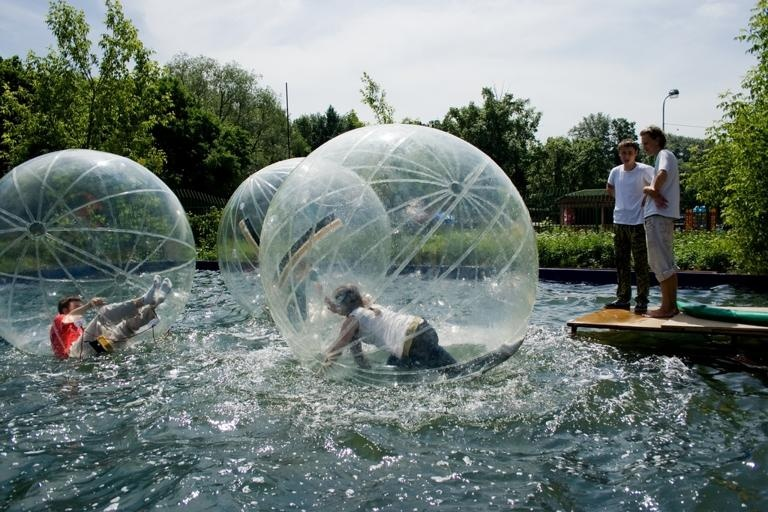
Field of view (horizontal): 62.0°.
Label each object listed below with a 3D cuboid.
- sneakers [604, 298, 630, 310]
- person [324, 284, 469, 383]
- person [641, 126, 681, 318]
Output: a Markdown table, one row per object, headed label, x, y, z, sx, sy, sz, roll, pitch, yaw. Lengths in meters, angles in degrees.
| label | x | y | z | sx | sy | sz | roll | pitch | yaw |
| --- | --- | --- | --- | --- | --- | --- | --- | --- | --- |
| sneakers | 3.038 | 0.631 | 8.397 | 0.343 | 0.159 | 0.140 | 3 | -2 | 22 |
| person | 0.111 | 0.752 | 6.165 | 1.172 | 0.657 | 0.594 | 20 | -28 | 16 |
| person | 3.306 | -0.407 | 7.651 | 0.388 | 2.293 | 0.633 | -2 | 4 | 23 |
